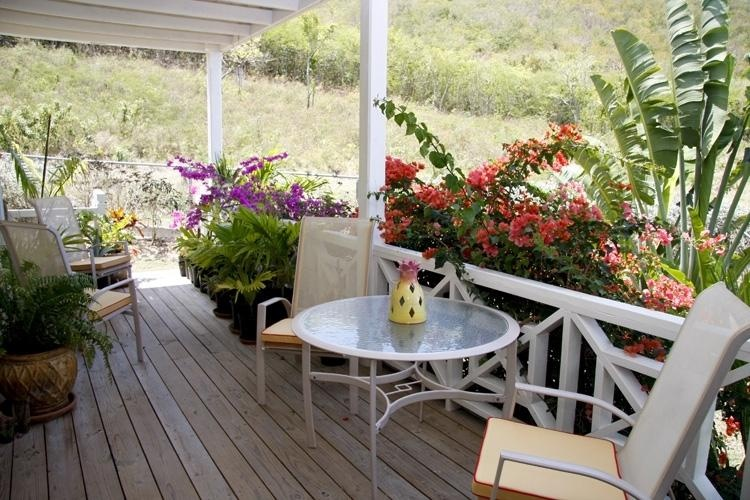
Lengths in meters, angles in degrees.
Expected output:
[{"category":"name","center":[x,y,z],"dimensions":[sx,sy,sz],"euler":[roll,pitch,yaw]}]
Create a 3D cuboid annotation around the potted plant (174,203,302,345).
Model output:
[{"category":"potted plant","center":[-1.381,0.124,5.283],"dimensions":[1.213,1.359,1.309],"euler":[-2,-2,39]}]
